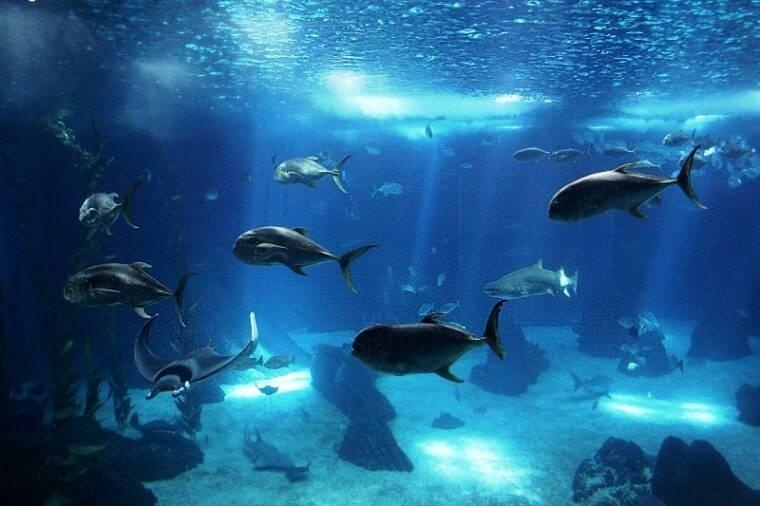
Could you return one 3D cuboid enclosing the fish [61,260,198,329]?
[{"bbox_3d":[-7.300,1.019,17.021,3.218,1.535,0.544,3,4,5],"label":"fish"}]

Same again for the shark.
[{"bbox_3d":[5.110,0.864,20.165,2.813,1.318,0.731,2,5,-11],"label":"shark"}]

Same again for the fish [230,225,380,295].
[{"bbox_3d":[-2.261,-0.037,17.087,3.863,1.172,1.162,11,-5,14],"label":"fish"}]

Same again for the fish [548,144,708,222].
[{"bbox_3d":[6.643,-1.807,16.547,2.950,1.852,2.105,0,5,-33],"label":"fish"}]
